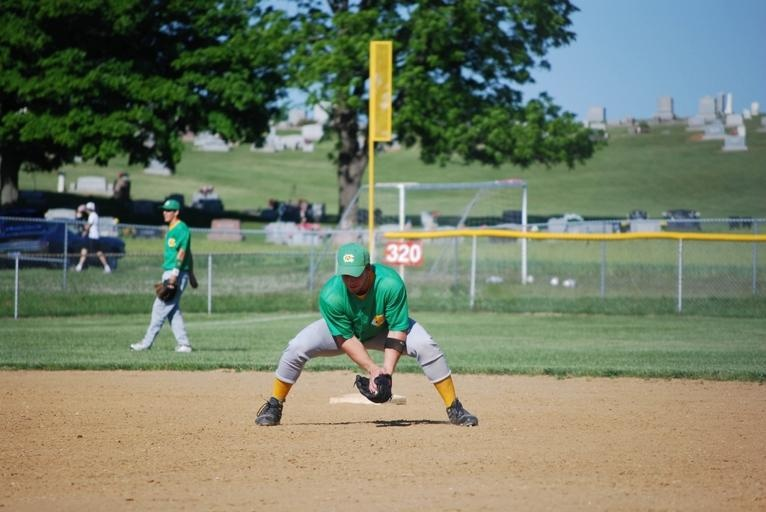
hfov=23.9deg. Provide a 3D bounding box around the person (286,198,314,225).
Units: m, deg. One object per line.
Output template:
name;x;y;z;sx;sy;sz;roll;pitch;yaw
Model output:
person;-3.683;-1.928;78.268;1.098;0.488;0.417;3;27;-9

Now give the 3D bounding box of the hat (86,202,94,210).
hat;-11.088;-1.901;68.046;0.284;0.318;0.375;4;-15;10

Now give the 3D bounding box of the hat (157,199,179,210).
hat;-6.683;-1.606;56.604;0.567;0.306;0.422;0;6;-17

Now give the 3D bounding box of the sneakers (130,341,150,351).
sneakers;-7.690;2.737;56.762;0.588;0.281;0.244;5;10;0

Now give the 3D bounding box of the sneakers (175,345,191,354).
sneakers;-6.324;2.822;56.724;0.413;0.220;0.190;5;-7;0
